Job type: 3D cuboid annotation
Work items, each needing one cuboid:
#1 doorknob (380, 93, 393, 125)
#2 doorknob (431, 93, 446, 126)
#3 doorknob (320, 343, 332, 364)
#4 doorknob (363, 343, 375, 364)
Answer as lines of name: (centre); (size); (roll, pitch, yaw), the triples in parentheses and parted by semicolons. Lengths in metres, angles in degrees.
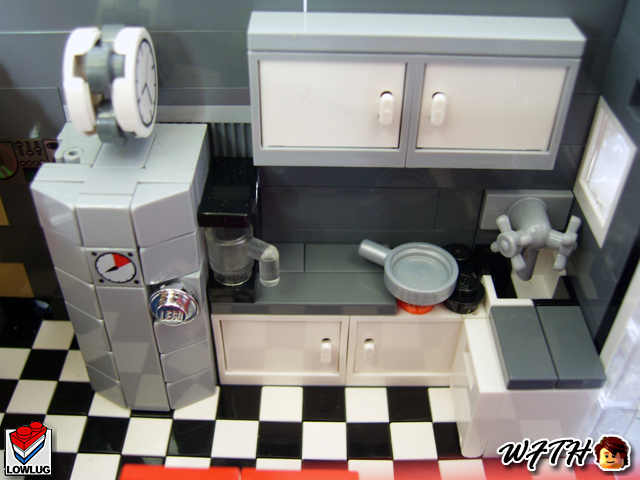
doorknob: (0.211, -0.396, 1.599); (0.050, 0.104, 0.029); (-14, 38, -20)
doorknob: (0.360, -0.401, 1.585); (0.047, 0.091, 0.054); (0, 30, 0)
doorknob: (0.025, 0.450, 2.057); (0.039, 0.092, 0.032); (-2, 35, -3)
doorknob: (0.194, 0.452, 2.059); (0.038, 0.094, 0.032); (-3, 35, -4)
